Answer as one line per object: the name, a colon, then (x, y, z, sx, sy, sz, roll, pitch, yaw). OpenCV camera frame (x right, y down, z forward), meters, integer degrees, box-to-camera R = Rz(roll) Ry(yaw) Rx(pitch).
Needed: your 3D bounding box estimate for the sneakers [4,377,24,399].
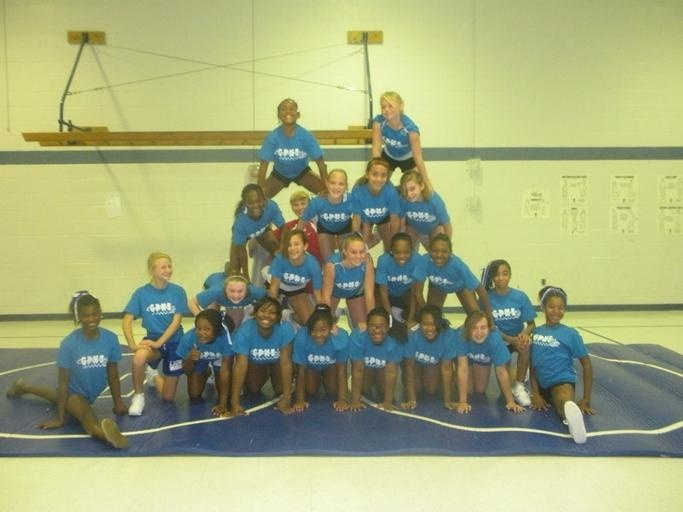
sneakers: (-3.752, 1.471, 9.228, 0.143, 0.172, 0.264, 13, 7, -26)

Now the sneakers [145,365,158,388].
sneakers: (-2.239, 1.391, 9.493, 0.124, 0.302, 0.129, -5, -2, -23)

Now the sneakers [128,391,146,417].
sneakers: (-2.249, 1.599, 8.807, 0.176, 0.223, 0.134, -5, 5, -22)

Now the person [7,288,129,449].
person: (-2.744, 1.190, 8.603, 0.843, 1.150, 1.718, -3, 13, -39)

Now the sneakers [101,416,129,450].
sneakers: (-2.342, 1.806, 8.322, 0.191, 0.351, 0.146, -23, -14, -42)

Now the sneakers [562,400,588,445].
sneakers: (2.384, 1.689, 8.339, 0.204, 0.439, 0.183, -12, -7, 3)
